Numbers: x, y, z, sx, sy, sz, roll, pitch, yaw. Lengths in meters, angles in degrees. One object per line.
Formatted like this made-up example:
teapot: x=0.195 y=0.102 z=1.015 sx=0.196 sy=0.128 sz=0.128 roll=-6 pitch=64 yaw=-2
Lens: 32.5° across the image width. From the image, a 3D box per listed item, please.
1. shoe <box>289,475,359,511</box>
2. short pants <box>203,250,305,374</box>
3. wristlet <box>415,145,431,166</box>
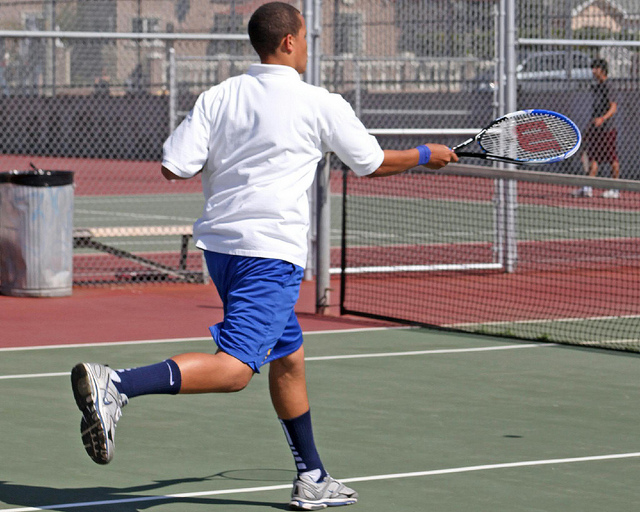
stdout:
shoe: x=0.004 y=1.299 z=6.065 sx=0.421 sy=0.178 sz=0.154 roll=1 pitch=-4 yaw=-23
short pants: x=-0.337 y=0.281 z=5.762 sx=0.509 sy=0.570 sz=0.434 roll=-1 pitch=10 yaw=-5
wristlet: x=0.591 y=-0.576 z=6.238 sx=0.099 sy=0.075 sz=0.103 roll=1 pitch=2 yaw=6
